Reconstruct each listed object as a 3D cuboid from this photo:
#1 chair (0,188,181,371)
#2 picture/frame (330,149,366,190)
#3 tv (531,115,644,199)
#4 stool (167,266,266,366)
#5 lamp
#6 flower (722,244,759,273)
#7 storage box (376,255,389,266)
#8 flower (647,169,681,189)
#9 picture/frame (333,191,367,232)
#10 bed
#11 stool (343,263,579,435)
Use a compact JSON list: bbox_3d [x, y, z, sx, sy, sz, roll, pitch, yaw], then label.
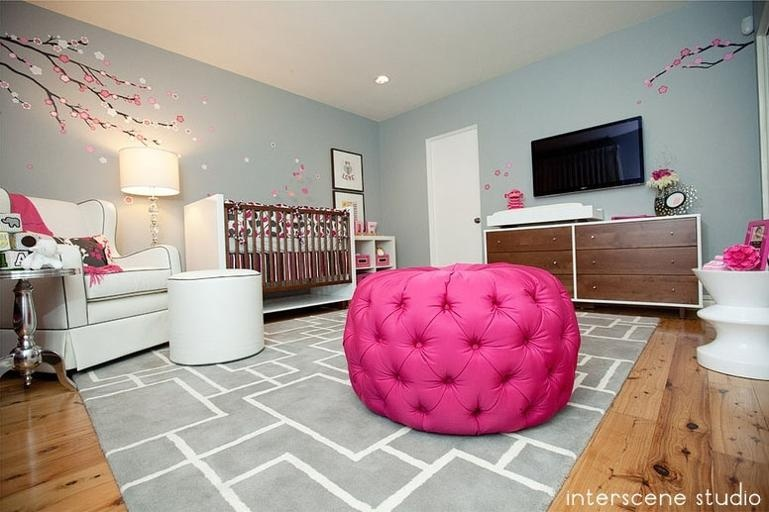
[{"bbox_3d":[-2.272,0.188,3.585,1.243,1.530,1.154,-3,-2,23],"label":"chair"},{"bbox_3d":[-0.497,-1.114,5.624,0.047,0.584,0.616,-5,-6,43],"label":"picture/frame"},{"bbox_3d":[2.091,-0.977,4.314,0.933,0.626,0.067,-3,3,38],"label":"tv"},{"bbox_3d":[-1.250,0.423,3.209,0.619,0.664,0.685,7,9,44],"label":"stool"},{"bbox_3d":[-2.114,-0.515,3.907,0.468,0.794,0.469,-5,-1,31],"label":"lamp"},{"bbox_3d":[2.153,0.027,2.599,0.160,0.100,0.159,-14,6,-33],"label":"flower"},{"bbox_3d":[-0.015,0.093,5.336,0.112,0.138,0.204,-2,-2,35],"label":"storage box"},{"bbox_3d":[2.548,-0.688,3.913,0.248,0.217,0.207,-1,3,34],"label":"flower"},{"bbox_3d":[-0.419,-0.526,5.661,0.032,0.575,0.572,-9,0,32],"label":"picture/frame"},{"bbox_3d":[-1.039,-0.053,4.407,0.820,1.135,1.398,-3,-2,41],"label":"bed"},{"bbox_3d":[0.458,0.508,2.769,1.323,0.790,1.370,-2,0,-7],"label":"stool"}]
